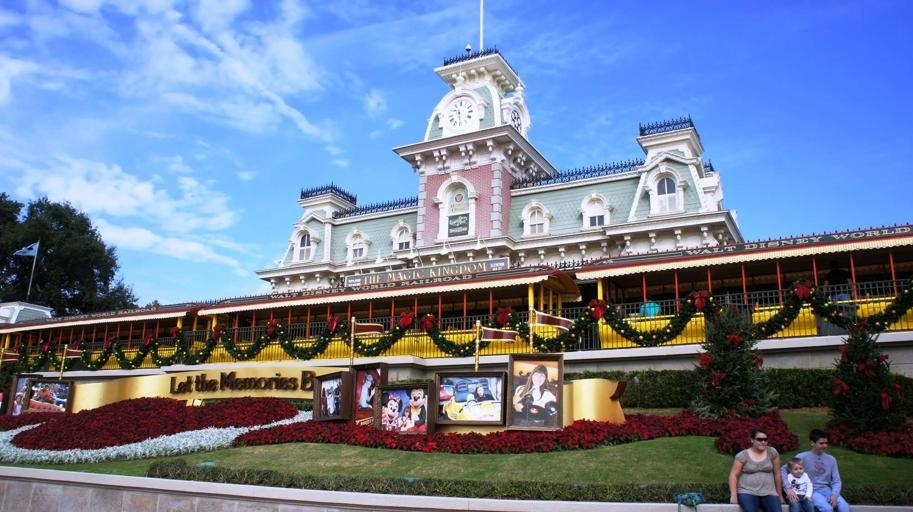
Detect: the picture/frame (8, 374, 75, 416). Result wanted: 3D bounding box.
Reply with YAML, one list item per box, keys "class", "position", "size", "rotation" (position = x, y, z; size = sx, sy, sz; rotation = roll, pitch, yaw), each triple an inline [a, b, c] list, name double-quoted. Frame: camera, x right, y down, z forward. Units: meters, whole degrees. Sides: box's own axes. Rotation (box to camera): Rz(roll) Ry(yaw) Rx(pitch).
- class: "picture/frame"
  position: [-22.402, 7.508, 35.311]
  size: [2.461, 1.490, 0.300]
  rotation: [0, -15, 8]

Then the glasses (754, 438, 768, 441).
- class: "glasses"
  position: [8.972, 5.375, 19.300]
  size: [0.462, 0.089, 0.207]
  rotation: [12, -21, -42]

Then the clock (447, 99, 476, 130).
- class: "clock"
  position: [0.380, -10.075, 47.135]
  size: [2.475, 2.222, 0.327]
  rotation: [-7, -10, 20]

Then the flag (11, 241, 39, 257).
- class: "flag"
  position: [-37.940, -0.698, 57.588]
  size: [2.801, 0.201, 2.709]
  rotation: [-9, 21, -12]
